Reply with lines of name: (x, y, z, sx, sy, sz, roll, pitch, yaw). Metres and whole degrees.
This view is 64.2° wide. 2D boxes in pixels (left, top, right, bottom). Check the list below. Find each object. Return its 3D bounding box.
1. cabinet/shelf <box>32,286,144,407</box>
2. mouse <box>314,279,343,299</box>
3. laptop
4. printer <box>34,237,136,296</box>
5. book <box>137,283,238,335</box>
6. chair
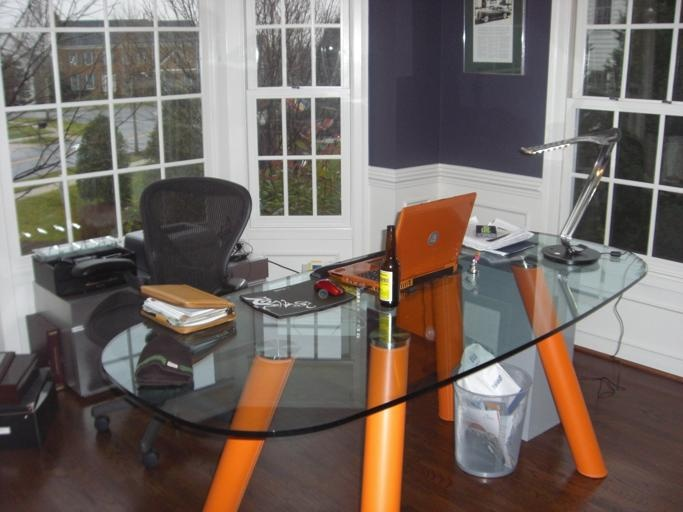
cabinet/shelf: (-1.336, 0.468, 2.844, 0.570, 0.608, 0.426, -16, 24, -42)
mouse: (-0.063, 0.138, 2.326, 0.090, 0.032, 0.079, 16, 26, 22)
laptop: (0.284, -0.135, 2.494, 0.486, 0.418, 0.563, 16, 24, 40)
printer: (-1.559, 0.050, 3.337, 0.422, 0.171, 0.425, -12, 28, -39)
book: (-0.638, 0.188, 2.145, 0.270, 0.091, 0.205, 18, 23, 38)
chair: (-0.835, 0.277, 2.738, 0.784, 1.275, 0.834, 7, 13, 21)
